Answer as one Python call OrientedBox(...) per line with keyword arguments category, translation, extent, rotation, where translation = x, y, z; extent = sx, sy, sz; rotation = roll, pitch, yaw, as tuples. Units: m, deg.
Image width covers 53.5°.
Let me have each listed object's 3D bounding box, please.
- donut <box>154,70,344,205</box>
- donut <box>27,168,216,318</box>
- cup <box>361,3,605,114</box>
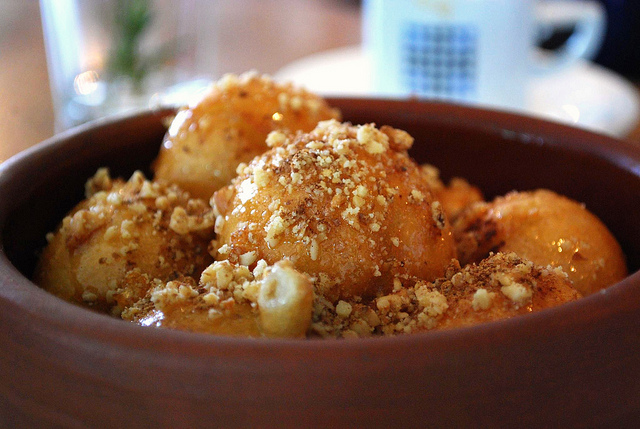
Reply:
OrientedBox(category="donut", translation=(-0.095, -0.123, 0.841), extent=(0.196, 0.127, 0.161), rotation=(-13, 22, -5))
OrientedBox(category="donut", translation=(-0.198, 0.033, 0.709), extent=(0.176, 0.107, 0.166), rotation=(0, 73, -2))
OrientedBox(category="cup", translation=(0.295, -0.273, 1.208), extent=(0.374, 0.269, 0.245), rotation=(-4, 26, -8))
